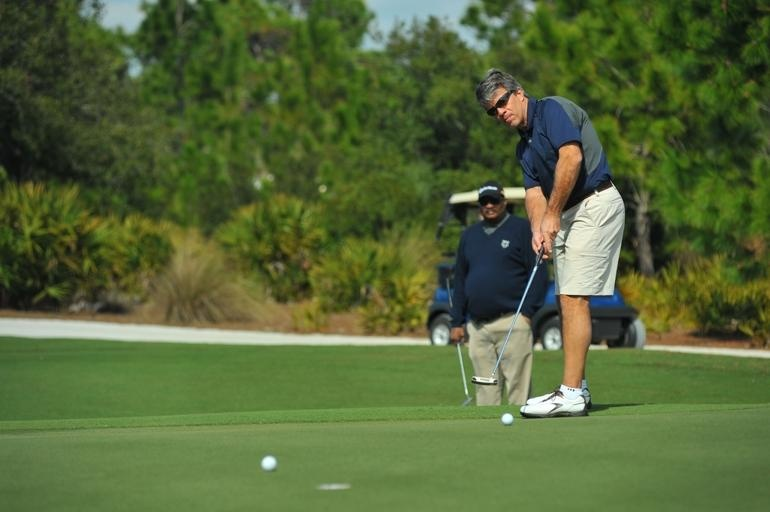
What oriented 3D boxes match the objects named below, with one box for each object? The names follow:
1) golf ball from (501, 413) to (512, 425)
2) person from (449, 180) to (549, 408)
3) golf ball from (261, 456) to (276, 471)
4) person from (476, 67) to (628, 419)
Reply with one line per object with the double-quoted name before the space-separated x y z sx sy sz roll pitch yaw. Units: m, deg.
"golf ball" 1.266 1.701 15.180 0.126 0.111 0.231 3 -3 4
"person" 1.325 0.466 16.935 0.725 2.748 1.071 0 0 25
"golf ball" -1.145 2.051 14.332 0.112 0.141 0.124 0 -3 15
"person" 1.828 -0.200 15.783 1.376 3.854 1.160 -2 -4 -19
